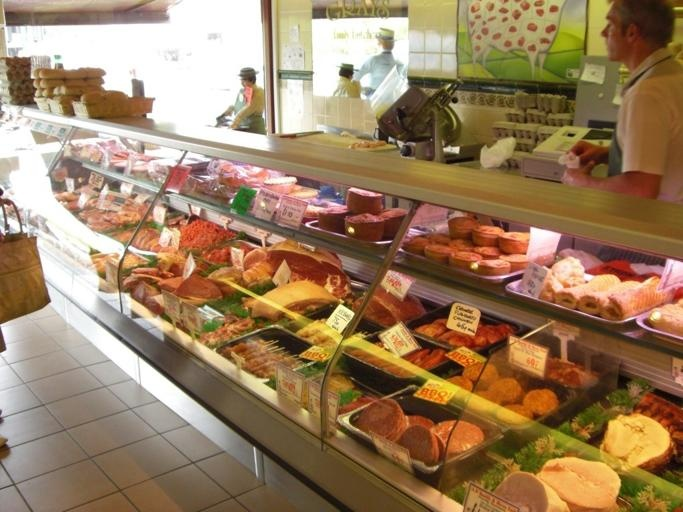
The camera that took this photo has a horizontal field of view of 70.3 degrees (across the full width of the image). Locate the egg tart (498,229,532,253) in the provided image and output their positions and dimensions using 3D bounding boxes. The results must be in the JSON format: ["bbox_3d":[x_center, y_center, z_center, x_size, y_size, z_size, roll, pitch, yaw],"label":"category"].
[{"bbox_3d":[0.544,-0.045,1.537,0.029,0.076,0.105,-18,25,-36],"label":"egg tart"}]

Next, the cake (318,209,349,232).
[{"bbox_3d":[-0.033,-0.147,1.954,0.109,0.063,0.103,5,8,28],"label":"cake"}]

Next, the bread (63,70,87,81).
[{"bbox_3d":[-1.819,-1.236,3.309,0.127,0.067,0.086,-5,20,-9],"label":"bread"}]

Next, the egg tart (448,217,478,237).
[{"bbox_3d":[0.411,-0.097,1.649,0.086,0.031,0.076,-2,30,1],"label":"egg tart"}]

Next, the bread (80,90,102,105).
[{"bbox_3d":[-1.573,-0.990,3.056,0.133,0.072,0.083,-7,20,-17],"label":"bread"}]

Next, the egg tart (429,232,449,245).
[{"bbox_3d":[0.333,-0.061,1.653,0.053,0.011,0.047,2,29,0],"label":"egg tart"}]

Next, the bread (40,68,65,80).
[{"bbox_3d":[-1.999,-1.253,3.345,0.268,0.075,0.083,6,21,20],"label":"bread"}]

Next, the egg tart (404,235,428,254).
[{"bbox_3d":[0.252,-0.038,1.681,0.073,0.023,0.063,-4,38,2],"label":"egg tart"}]

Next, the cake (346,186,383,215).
[{"bbox_3d":[0.083,-0.212,1.876,0.124,0.063,0.114,10,14,13],"label":"cake"}]

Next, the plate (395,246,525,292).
[{"bbox_3d":[0.358,0.049,1.567,0.248,0.023,0.151,14,21,43],"label":"plate"}]

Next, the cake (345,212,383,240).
[{"bbox_3d":[0.085,-0.125,1.837,0.127,0.068,0.117,12,16,35],"label":"cake"}]

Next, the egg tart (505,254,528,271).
[{"bbox_3d":[0.540,0.016,1.504,0.049,0.051,0.077,-2,19,-2],"label":"egg tart"}]

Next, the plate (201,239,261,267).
[{"bbox_3d":[-0.586,-0.019,2.419,0.195,0.039,0.183,6,26,28],"label":"plate"}]

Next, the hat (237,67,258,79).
[{"bbox_3d":[-1.284,-2.492,6.614,0.199,0.048,0.191,-18,33,-26],"label":"hat"}]

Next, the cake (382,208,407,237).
[{"bbox_3d":[0.189,-0.121,1.781,0.100,0.088,0.104,-7,12,-36],"label":"cake"}]

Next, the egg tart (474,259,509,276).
[{"bbox_3d":[0.476,0.034,1.523,0.106,0.043,0.055,3,20,13],"label":"egg tart"}]

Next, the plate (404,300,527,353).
[{"bbox_3d":[0.405,0.253,1.669,0.244,0.064,0.196,15,32,35],"label":"plate"}]

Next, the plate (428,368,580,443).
[{"bbox_3d":[0.464,0.407,1.384,0.239,0.061,0.159,12,33,29],"label":"plate"}]

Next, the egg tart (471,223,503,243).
[{"bbox_3d":[0.479,-0.081,1.600,0.070,0.029,0.065,-11,24,-25],"label":"egg tart"}]

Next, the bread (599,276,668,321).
[{"bbox_3d":[0.757,0.112,1.251,0.157,0.057,0.080,-24,39,-1],"label":"bread"}]

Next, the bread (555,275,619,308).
[{"bbox_3d":[0.665,0.087,1.323,0.137,0.037,0.082,-27,17,-30],"label":"bread"}]

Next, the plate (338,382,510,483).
[{"bbox_3d":[0.248,0.503,1.449,0.237,0.043,0.344,-21,20,-38],"label":"plate"}]

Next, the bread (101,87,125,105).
[{"bbox_3d":[-1.456,-1.021,3.115,0.135,0.075,0.124,-11,21,-26],"label":"bread"}]
